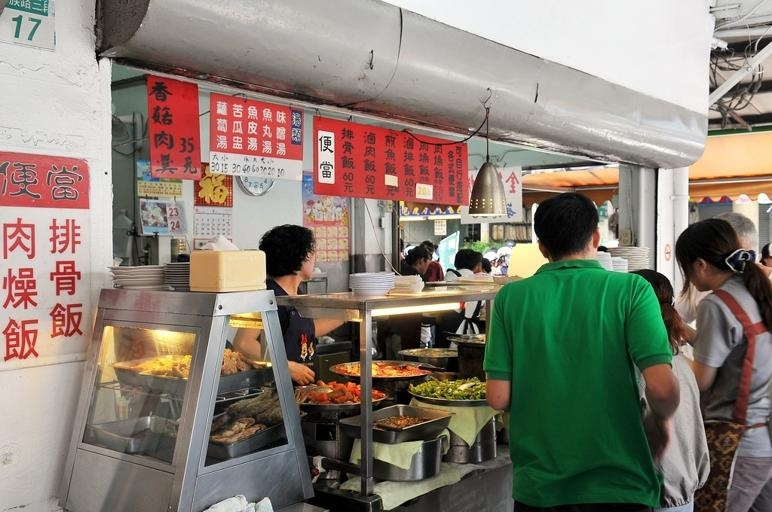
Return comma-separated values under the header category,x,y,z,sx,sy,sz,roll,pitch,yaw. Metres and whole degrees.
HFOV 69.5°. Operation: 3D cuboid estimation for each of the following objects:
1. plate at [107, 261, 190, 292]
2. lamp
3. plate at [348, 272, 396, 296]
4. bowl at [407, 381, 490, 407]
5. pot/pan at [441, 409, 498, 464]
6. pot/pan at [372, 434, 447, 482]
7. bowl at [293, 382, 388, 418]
category,x,y,z,sx,sy,sz,roll,pitch,yaw
plate,-1.255,0.113,2.972,0.404,0.144,0.192,-1,2,-13
lamp,0.770,-0.711,4.245,0.254,0.809,0.488,0,2,11
plate,-0.096,0.156,3.353,0.172,0.074,0.174,0,2,30
bowl,0.412,0.920,3.731,0.498,0.091,0.380,0,2,-5
pot/pan,0.559,1.157,3.601,0.301,0.277,0.302,-4,-6,29
pot/pan,0.113,1.225,3.425,0.554,0.192,0.440,16,-21,-23
bowl,-0.325,0.888,3.446,0.457,0.155,0.320,1,2,20
